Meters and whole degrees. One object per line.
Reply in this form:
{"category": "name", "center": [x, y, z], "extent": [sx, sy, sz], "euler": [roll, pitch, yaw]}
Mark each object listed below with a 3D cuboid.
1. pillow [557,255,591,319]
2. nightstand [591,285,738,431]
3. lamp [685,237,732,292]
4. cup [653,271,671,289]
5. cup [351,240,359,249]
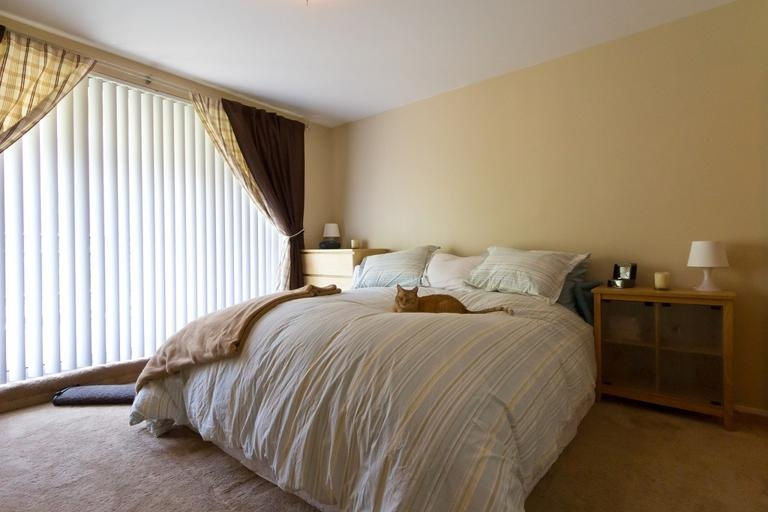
{"category": "pillow", "center": [1.696, 0.251, 4.246], "extent": [0.136, 0.464, 0.419], "euler": [17, 13, -11]}
{"category": "nightstand", "center": [2.198, 0.730, 3.921], "extent": [0.426, 0.932, 0.984], "euler": [-5, 5, -43]}
{"category": "lamp", "center": [2.534, 0.065, 3.866], "extent": [0.327, 0.373, 0.224], "euler": [-5, 6, -43]}
{"category": "cup", "center": [2.181, 0.191, 3.953], "extent": [0.136, 0.150, 0.133], "euler": [1, -4, 0]}
{"category": "cup", "center": [-0.334, -0.132, 5.728], "extent": [0.101, 0.087, 0.103], "euler": [1, -5, 0]}
